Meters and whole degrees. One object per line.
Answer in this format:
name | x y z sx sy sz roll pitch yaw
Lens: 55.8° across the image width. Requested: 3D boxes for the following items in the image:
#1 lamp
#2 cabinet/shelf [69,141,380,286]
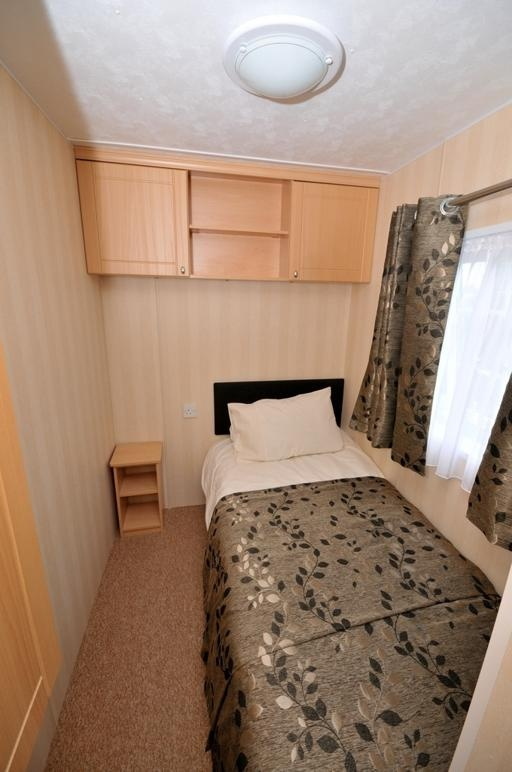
lamp | 0.083 -0.926 1.378 0.344 0.141 0.292 1 21 3
cabinet/shelf | -0.102 -0.830 2.416 1.441 0.633 0.319 -6 20 -14
